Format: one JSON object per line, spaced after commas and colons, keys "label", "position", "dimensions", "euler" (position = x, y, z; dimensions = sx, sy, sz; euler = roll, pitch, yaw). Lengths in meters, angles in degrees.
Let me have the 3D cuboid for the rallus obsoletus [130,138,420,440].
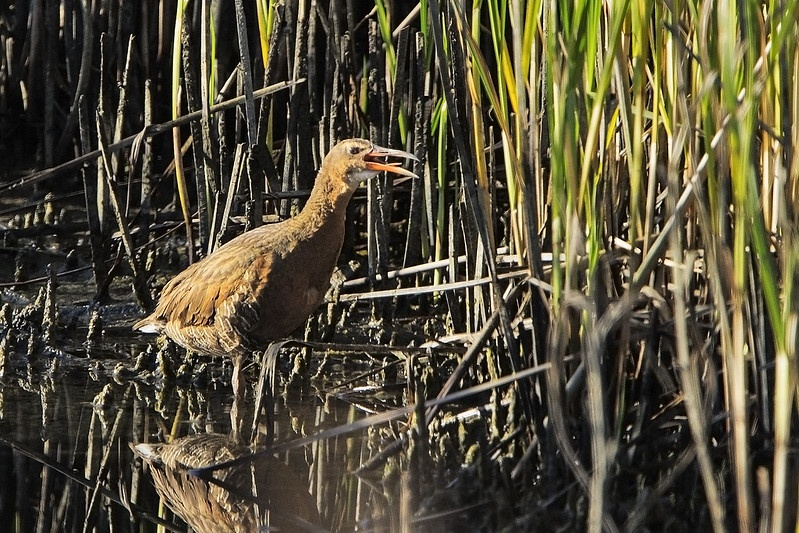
{"label": "rallus obsoletus", "position": [-0.670, -0.091, 5.848], "dimensions": [1.819, 2.156, 0.941], "euler": [2, 5, -2]}
